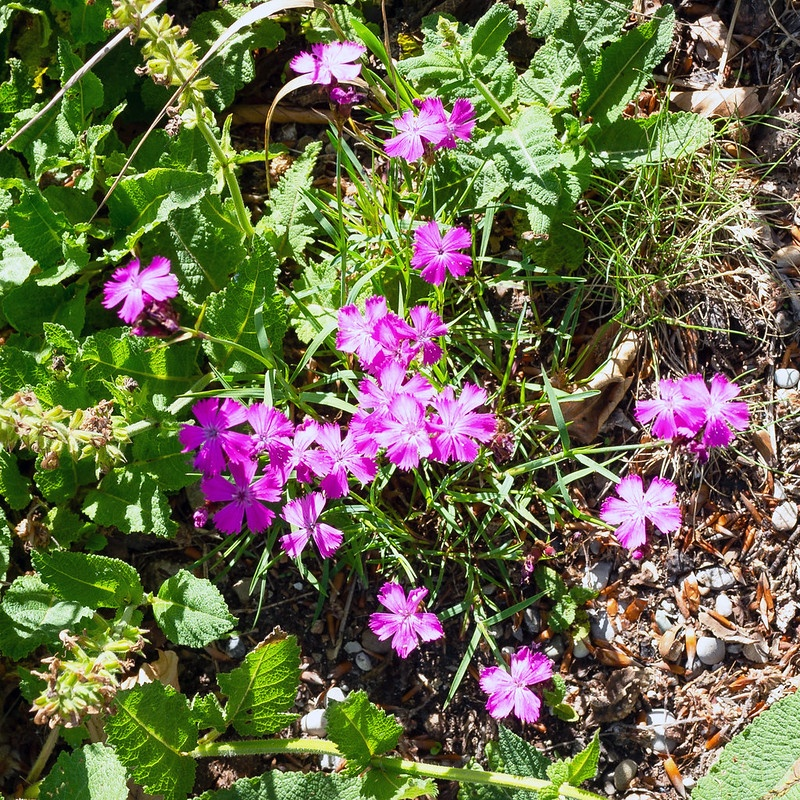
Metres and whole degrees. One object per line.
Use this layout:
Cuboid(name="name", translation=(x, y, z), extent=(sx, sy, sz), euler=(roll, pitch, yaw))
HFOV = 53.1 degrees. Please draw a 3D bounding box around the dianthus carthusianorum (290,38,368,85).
Cuboid(name="dianthus carthusianorum", translation=(-0.184, -0.871, 2.093), extent=(0.192, 0.092, 0.159), euler=(-3, 40, -6))
